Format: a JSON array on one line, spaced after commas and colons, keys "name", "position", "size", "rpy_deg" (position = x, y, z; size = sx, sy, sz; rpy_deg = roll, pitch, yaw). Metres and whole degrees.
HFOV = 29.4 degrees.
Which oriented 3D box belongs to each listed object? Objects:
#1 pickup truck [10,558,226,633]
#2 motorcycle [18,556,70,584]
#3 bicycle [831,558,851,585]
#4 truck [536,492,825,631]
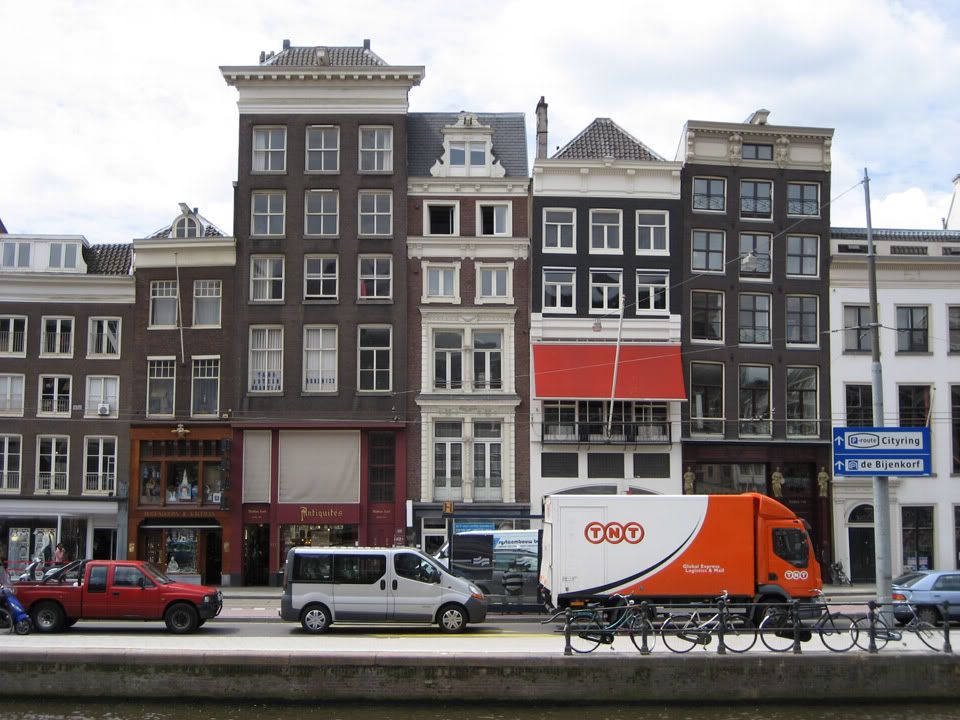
[{"name": "pickup truck", "position": [-13.959, 9.009, 69.278], "size": [6.931, 2.741, 0.651], "rpy_deg": [0, -6, -4]}, {"name": "motorcycle", "position": [-16.766, 7.995, 69.776], "size": [1.530, 0.536, 1.073], "rpy_deg": [2, -10, 2]}, {"name": "bicycle", "position": [16.913, 10.129, 86.438], "size": [1.036, 1.341, 0.818], "rpy_deg": [-1, -17, 5]}, {"name": "truck", "position": [7.985, 7.711, 72.537], "size": [11.634, 5.194, 4.463], "rpy_deg": [-1, -4, 0]}]
